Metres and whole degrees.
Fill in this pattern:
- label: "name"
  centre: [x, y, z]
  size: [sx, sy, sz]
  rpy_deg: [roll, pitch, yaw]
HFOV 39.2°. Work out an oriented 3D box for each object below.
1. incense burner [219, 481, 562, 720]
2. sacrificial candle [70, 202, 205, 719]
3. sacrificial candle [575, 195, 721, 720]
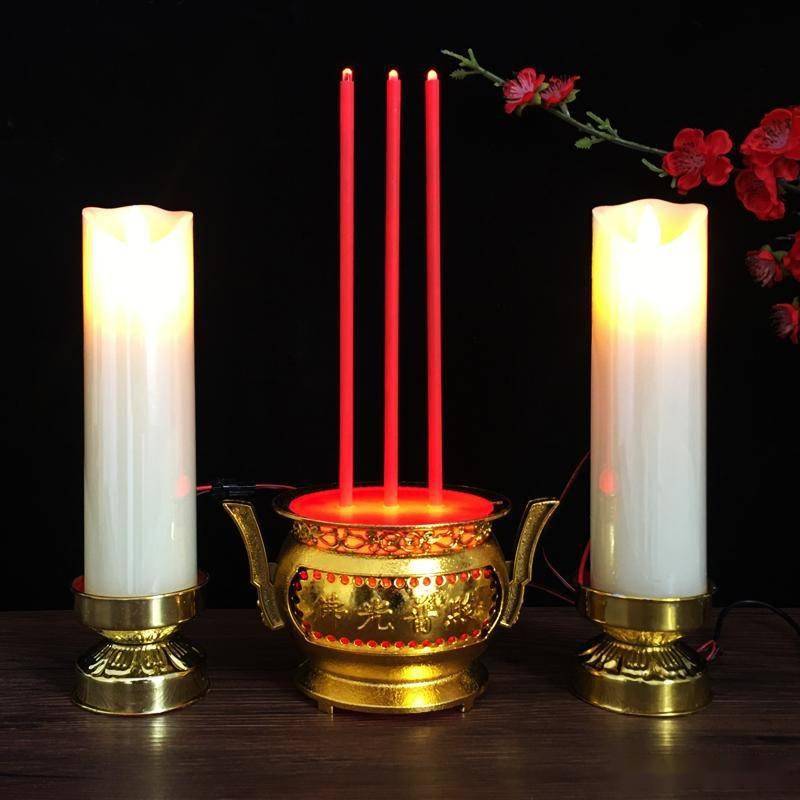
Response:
- label: "incense burner"
  centre: [-0.017, 0.122, 1.023]
  size: [0.301, 0.171, 0.184]
  rpy_deg: [-1, 4, 2]
- label: "sacrificial candle"
  centre: [-0.235, 0.042, 0.994]
  size: [0.116, 0.421, 0.195]
  rpy_deg: [-3, 14, -10]
- label: "sacrificial candle"
  centre: [0.216, 0.044, 0.977]
  size: [0.111, 0.427, 0.161]
  rpy_deg: [2, 14, 9]
